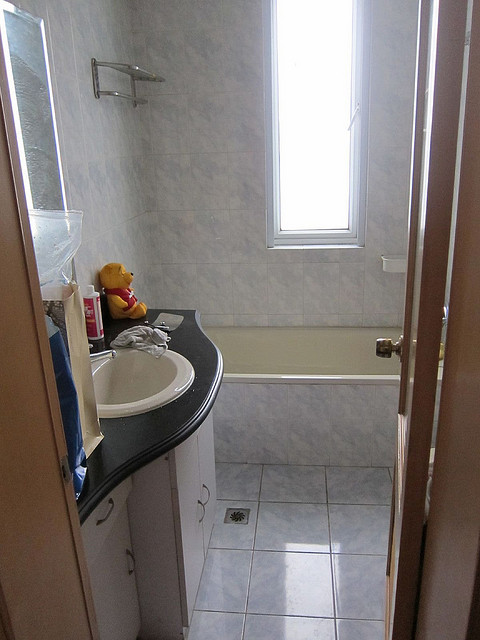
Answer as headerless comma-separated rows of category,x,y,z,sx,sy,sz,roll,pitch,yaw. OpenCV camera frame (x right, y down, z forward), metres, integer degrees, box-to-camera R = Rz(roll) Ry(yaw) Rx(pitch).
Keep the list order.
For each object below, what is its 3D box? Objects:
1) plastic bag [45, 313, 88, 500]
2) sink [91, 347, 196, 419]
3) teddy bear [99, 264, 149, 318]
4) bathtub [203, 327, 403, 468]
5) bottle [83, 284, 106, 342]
plastic bag,-0.362,0.164,1.029,0.056,0.380,0.179,-5,13,-20
sink,-0.354,0.157,1.611,0.201,0.109,0.231,0,25,15
teddy bear,-0.539,-0.145,2.302,0.192,0.354,0.214,-5,6,-12
bathtub,0.361,0.405,2.919,1.000,0.532,0.918,1,15,8
bottle,-0.602,-0.054,2.013,0.075,0.212,0.293,-4,15,-16
